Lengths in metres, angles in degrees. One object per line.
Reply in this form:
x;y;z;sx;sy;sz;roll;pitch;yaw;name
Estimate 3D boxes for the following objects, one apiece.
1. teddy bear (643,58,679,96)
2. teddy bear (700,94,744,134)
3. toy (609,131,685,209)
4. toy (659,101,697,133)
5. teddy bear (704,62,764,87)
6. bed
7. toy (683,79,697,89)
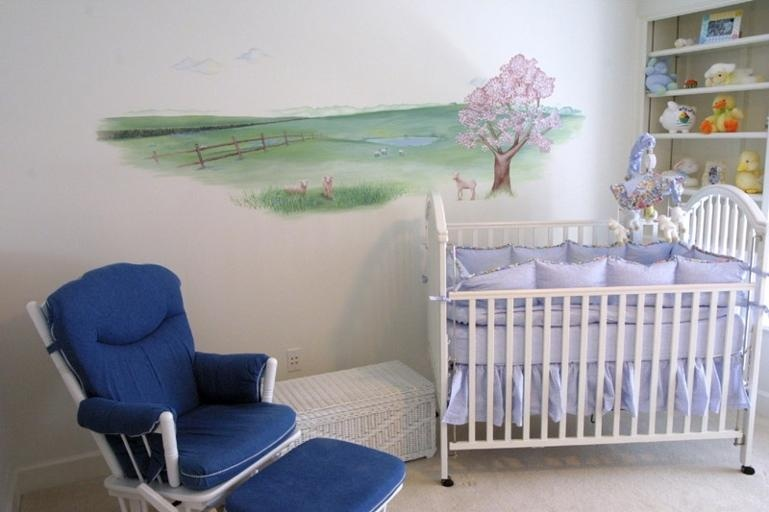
1.974;-1.320;4.388;0.241;0.264;0.192;-18;25;-25;teddy bear
2.290;-0.978;4.166;0.249;0.274;0.255;-7;17;16;teddy bear
1.646;-0.521;3.764;0.200;0.473;0.375;-25;34;-32;toy
2.103;-0.985;4.358;0.259;0.193;0.243;-8;15;-5;toy
2.355;-1.217;4.110;0.276;0.101;0.191;-5;16;8;teddy bear
1.242;0.451;4.026;2.274;1.731;1.498;-5;19;-5;bed
2.182;-1.234;4.359;0.097;0.063;0.092;0;10;10;toy
